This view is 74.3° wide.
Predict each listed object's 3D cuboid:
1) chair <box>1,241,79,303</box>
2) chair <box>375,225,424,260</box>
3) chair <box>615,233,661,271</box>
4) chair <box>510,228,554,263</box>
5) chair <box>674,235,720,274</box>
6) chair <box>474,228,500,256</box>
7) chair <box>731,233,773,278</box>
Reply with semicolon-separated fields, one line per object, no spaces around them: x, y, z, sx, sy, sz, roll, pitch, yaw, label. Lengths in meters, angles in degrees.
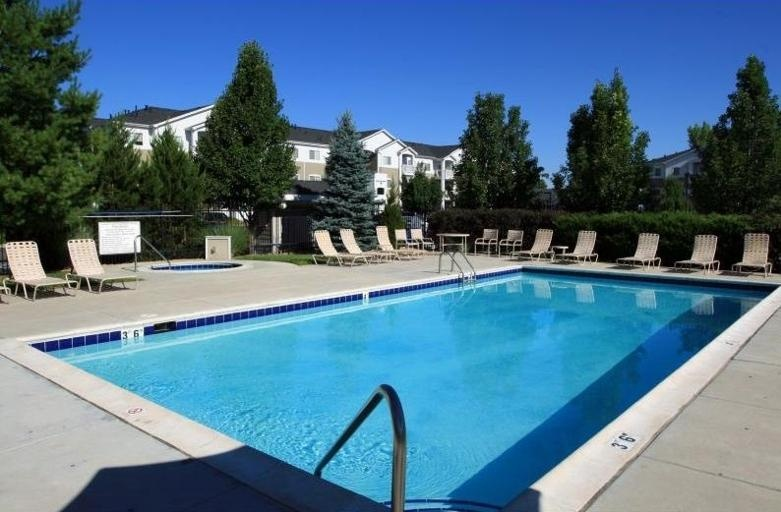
-8.687;0.402;12.992;2.177;1.587;1.259;9;8;31;chair
0.174;-0.499;21.521;1.229;1.458;2.112;0;0;-28;chair
8.943;-0.121;18.766;1.114;1.401;1.961;1;5;42;chair
5.867;-0.368;21.370;2.049;1.476;1.121;-4;4;-43;chair
10.205;-0.031;17.508;1.111;1.461;2.056;0;3;42;chair
4.427;-0.561;23.971;1.153;1.701;1.137;0;2;40;chair
11.788;-0.027;16.653;1.098;1.674;2.058;1;3;38;chair
